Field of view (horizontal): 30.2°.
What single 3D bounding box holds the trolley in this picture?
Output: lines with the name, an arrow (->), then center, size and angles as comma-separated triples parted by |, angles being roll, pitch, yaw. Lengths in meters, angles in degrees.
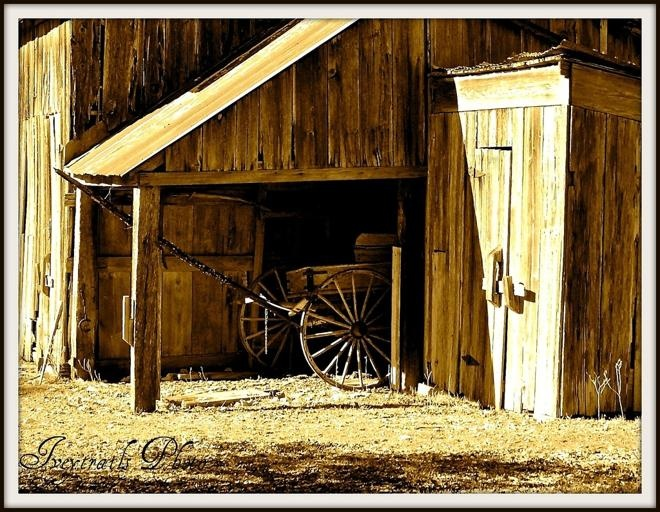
trolley -> -0.118, 1.200, 20.001 | 2.237, 1.932, 1.673 | 7, -8, -23
